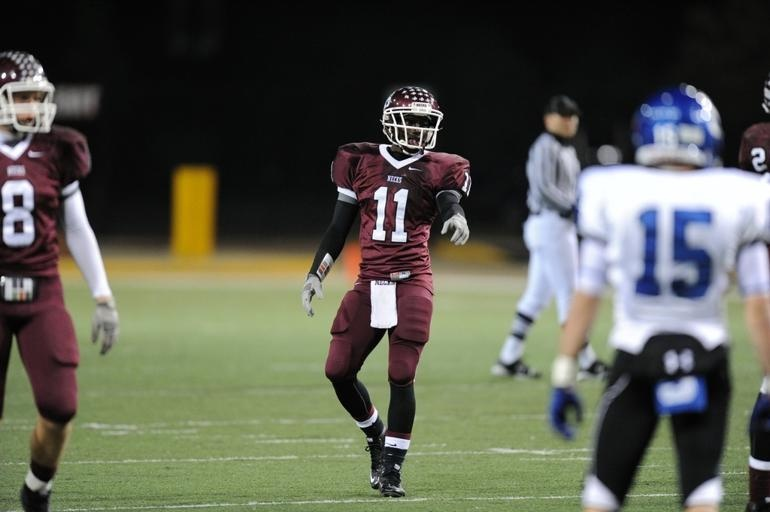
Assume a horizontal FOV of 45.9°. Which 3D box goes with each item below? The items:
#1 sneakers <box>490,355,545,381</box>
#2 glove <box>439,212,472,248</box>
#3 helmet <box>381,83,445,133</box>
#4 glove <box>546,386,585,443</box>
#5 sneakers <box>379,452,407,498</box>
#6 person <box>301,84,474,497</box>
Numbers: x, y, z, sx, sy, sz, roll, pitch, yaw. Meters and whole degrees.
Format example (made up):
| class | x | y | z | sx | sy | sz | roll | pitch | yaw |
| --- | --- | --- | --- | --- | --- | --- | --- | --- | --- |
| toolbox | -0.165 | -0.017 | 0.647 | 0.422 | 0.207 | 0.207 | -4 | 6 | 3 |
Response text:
| class | x | y | z | sx | sy | sz | roll | pitch | yaw |
| --- | --- | --- | --- | --- | --- | --- | --- | --- | --- |
| sneakers | 1.197 | 1.041 | 8.440 | 0.537 | 0.249 | 0.188 | 2 | 0 | 5 |
| glove | 0.368 | -0.138 | 5.244 | 0.135 | 0.221 | 0.296 | 6 | -2 | 9 |
| helmet | 0.124 | -0.910 | 5.581 | 0.260 | 0.254 | 0.325 | 3 | -1 | -19 |
| glove | 0.740 | 0.652 | 3.813 | 0.171 | 0.225 | 0.094 | -16 | 25 | -28 |
| sneakers | 0.045 | 1.248 | 5.276 | 0.155 | 0.274 | 0.245 | 5 | 12 | 1 |
| person | 0.023 | 0.216 | 5.455 | 0.803 | 2.413 | 0.976 | -6 | 15 | -41 |
